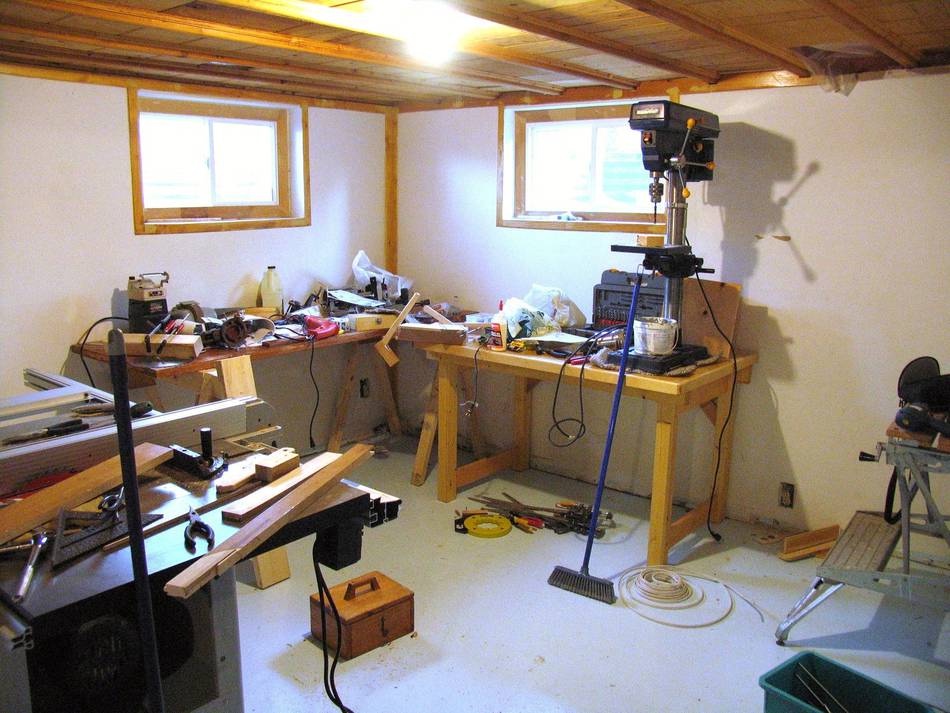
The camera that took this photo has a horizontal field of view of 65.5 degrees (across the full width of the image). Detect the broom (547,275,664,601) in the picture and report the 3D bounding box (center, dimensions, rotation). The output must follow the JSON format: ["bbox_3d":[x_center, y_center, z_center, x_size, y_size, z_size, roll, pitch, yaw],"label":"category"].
[{"bbox_3d":[0.644,0.490,3.741,0.449,1.803,0.465,11,16,35],"label":"broom"}]

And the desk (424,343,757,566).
[{"bbox_3d":[0.630,0.449,4.376,1.637,0.979,0.916,8,12,36],"label":"desk"}]

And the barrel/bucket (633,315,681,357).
[{"bbox_3d":[0.931,-0.101,3.766,0.210,0.150,0.191,-3,6,-39],"label":"barrel/bucket"}]

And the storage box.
[{"bbox_3d":[-0.507,1.110,3.341,0.445,0.292,0.344,-12,18,-41],"label":"storage box"}]
